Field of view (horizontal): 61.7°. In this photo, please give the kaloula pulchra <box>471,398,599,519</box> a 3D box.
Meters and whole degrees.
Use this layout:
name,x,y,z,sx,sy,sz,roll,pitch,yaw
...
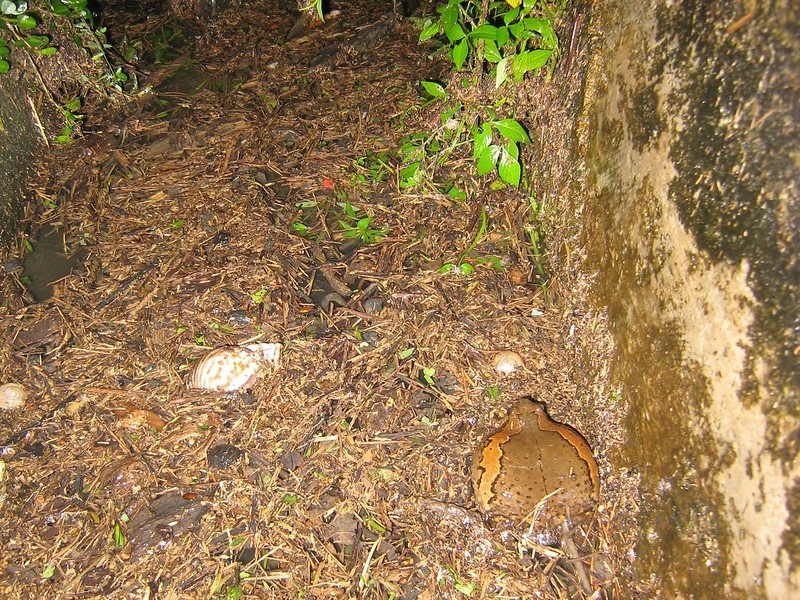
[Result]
name,x,y,z,sx,sy,sz,roll,pitch,yaw
kaloula pulchra,0.571,0.694,2.877,0.526,0.175,0.581,-7,40,9

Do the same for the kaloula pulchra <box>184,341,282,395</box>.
name,x,y,z,sx,sy,sz,roll,pitch,yaw
kaloula pulchra,-0.787,0.312,3.219,0.309,0.101,0.247,-37,33,-18
